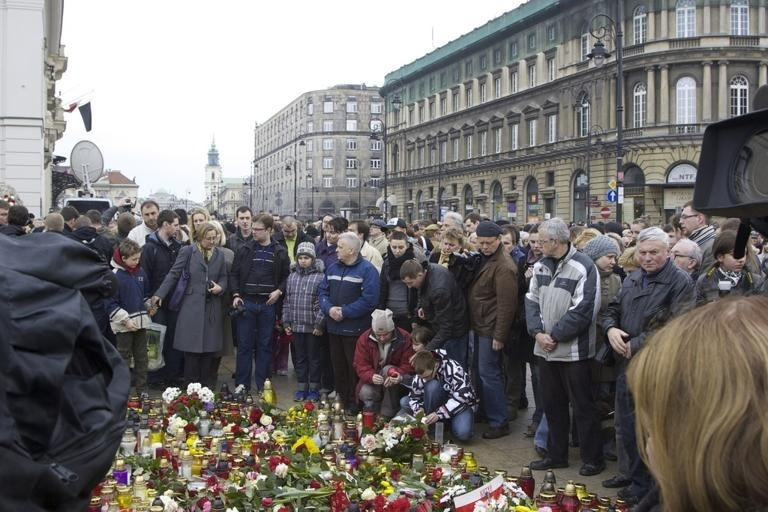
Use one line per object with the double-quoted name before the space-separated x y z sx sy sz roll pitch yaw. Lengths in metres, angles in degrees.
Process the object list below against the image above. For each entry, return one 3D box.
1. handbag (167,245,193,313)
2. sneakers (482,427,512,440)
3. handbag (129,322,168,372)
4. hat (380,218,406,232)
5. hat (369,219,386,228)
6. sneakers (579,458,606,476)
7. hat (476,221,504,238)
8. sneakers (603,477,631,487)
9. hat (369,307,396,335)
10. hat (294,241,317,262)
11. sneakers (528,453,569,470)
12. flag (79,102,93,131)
"handbag" -2.781 0.341 13.790 0.181 0.789 0.445 13 -5 24
"sneakers" 1.410 2.232 12.270 0.389 0.173 0.133 5 -6 -34
"handbag" -3.251 1.349 13.814 0.542 1.040 0.672 -1 3 -18
"hat" 0.216 -0.473 15.856 0.376 0.216 0.272 7 -8 -26
"hat" -0.069 -0.550 15.926 0.200 0.071 0.147 22 -9 12
"sneakers" 2.367 2.412 11.089 0.345 0.143 0.125 4 -6 -42
"hat" 1.346 -0.311 12.327 0.235 0.122 0.193 6 -7 -37
"sneakers" 2.531 2.464 10.688 0.312 0.133 0.114 0 1 8
"hat" -0.012 0.853 12.640 0.243 0.290 0.301 -9 0 3
"hat" -1.118 -0.062 14.196 0.228 0.251 0.261 1 -16 -3
"sneakers" 1.875 2.376 11.273 0.548 0.260 0.209 3 -6 -8
"flag" -15.123 -7.067 50.050 0.466 1.563 2.278 -3 14 -14
